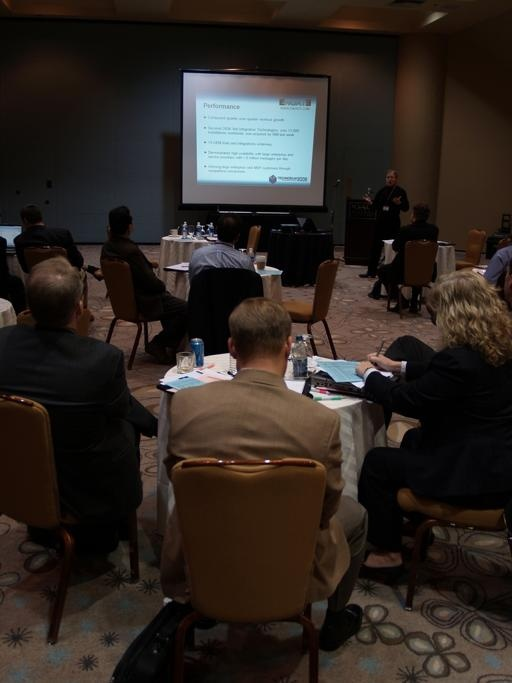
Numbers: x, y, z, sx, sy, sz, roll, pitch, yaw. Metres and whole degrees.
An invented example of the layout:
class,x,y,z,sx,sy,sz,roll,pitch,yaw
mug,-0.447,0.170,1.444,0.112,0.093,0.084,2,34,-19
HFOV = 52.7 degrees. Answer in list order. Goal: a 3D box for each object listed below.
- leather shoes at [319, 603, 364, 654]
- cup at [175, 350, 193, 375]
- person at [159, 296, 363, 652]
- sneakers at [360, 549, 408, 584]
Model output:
class,x,y,z,sx,sy,sz,roll,pitch,yaw
leather shoes,0.254,0.803,1.488,0.064,0.084,0.200,-2,-2,27
cup,-0.289,0.081,2.064,0.061,0.078,0.079,10,19,31
person,0.035,0.296,1.153,0.417,0.767,0.444,2,11,10
sneakers,0.455,0.794,1.838,0.203,0.088,0.073,8,6,-24
